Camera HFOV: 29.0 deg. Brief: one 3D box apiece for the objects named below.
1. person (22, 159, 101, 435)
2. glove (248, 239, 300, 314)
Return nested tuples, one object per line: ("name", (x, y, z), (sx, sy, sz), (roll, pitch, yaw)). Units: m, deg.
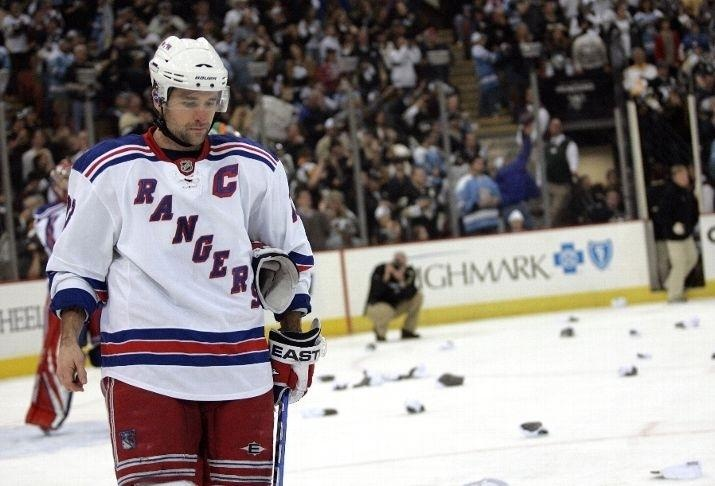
("person", (-3.029, 0.813, 14.082), (0.610, 2.118, 0.601), (1, -6, 3))
("glove", (-0.592, 0.274, 10.969), (0.425, 0.508, 0.490), (-9, 8, -23))
